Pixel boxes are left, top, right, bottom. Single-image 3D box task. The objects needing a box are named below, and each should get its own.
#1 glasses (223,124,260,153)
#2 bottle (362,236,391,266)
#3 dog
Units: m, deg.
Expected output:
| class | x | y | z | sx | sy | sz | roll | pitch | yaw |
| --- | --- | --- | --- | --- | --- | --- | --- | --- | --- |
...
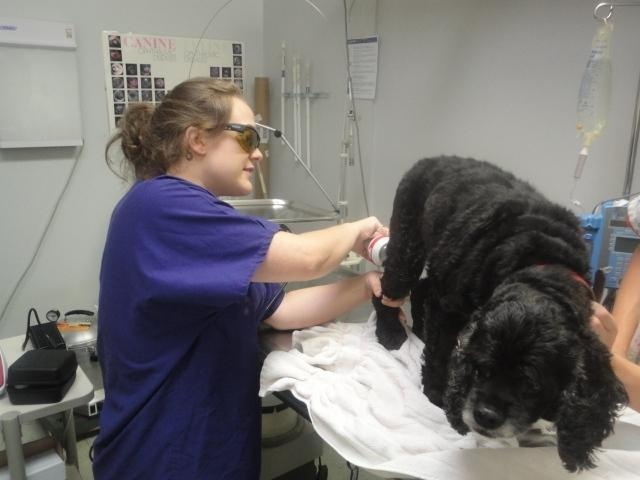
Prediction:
| class | x | y | z | sx | sy | sz | roll | pitch | yaw |
| --- | --- | --- | --- | --- | --- | --- | --- | --- | --- |
| glasses | -0.239 | -0.309 | 1.629 | 0.080 | 0.035 | 0.080 | 15 | 5 | 15 |
| bottle | 0.174 | 0.026 | 1.704 | 0.086 | 0.083 | 0.089 | 11 | 10 | -39 |
| dog | 0.304 | 0.072 | 1.349 | 0.365 | 0.497 | 0.823 | -5 | 23 | -11 |
